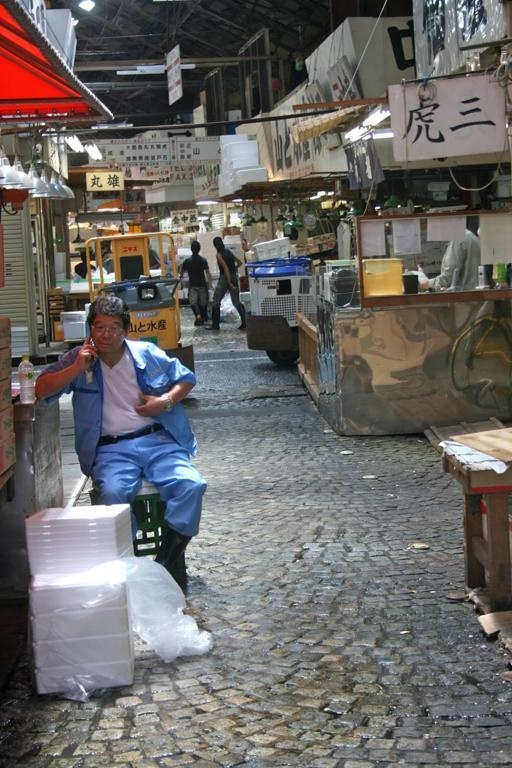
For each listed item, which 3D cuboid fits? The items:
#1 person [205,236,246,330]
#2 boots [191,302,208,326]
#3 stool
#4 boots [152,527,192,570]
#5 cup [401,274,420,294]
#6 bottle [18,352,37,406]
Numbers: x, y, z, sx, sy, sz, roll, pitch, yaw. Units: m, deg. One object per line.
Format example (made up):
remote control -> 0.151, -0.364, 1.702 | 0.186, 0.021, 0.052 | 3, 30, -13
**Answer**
person -> -0.882, -2.825, 17.374 | 0.897, 2.603, 1.444 | -4, 0, -5
boots -> -1.835, -2.154, 19.673 | 0.309, 0.373, 1.029 | -3, -7, -2
stool -> -0.715, 0.781, 3.381 | 0.385, 0.412, 0.458 | -4, 0, -15
boots -> -0.455, 0.872, 3.246 | 0.170, 0.227, 0.297 | -4, 0, -11
cup -> 1.624, -1.057, 6.428 | 0.212, 0.245, 0.181 | 4, 14, 23
bottle -> -1.165, -0.024, 3.053 | 0.074, 0.230, 0.280 | -4, 0, -21
